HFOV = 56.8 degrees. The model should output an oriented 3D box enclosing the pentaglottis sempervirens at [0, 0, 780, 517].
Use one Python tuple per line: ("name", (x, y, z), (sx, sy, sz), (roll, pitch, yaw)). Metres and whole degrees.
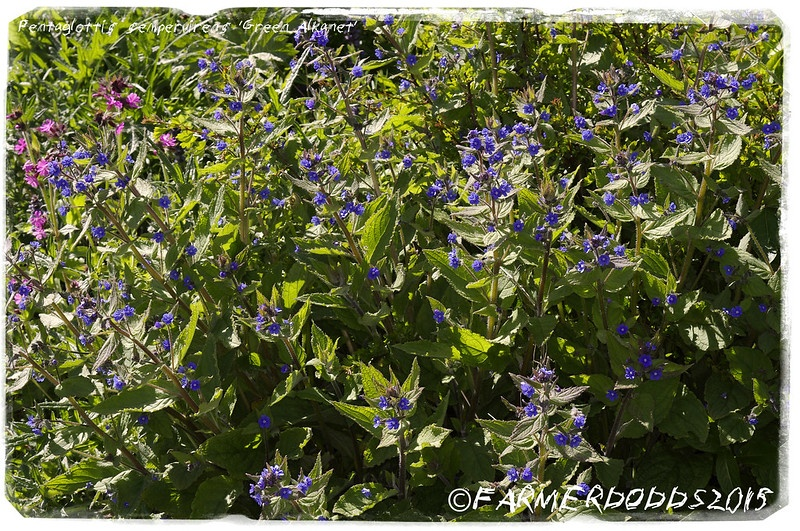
("pentaglottis sempervirens", (0.066, 0.047, 3.942), (3.418, 0.967, 2.467), (0, 81, 6))
